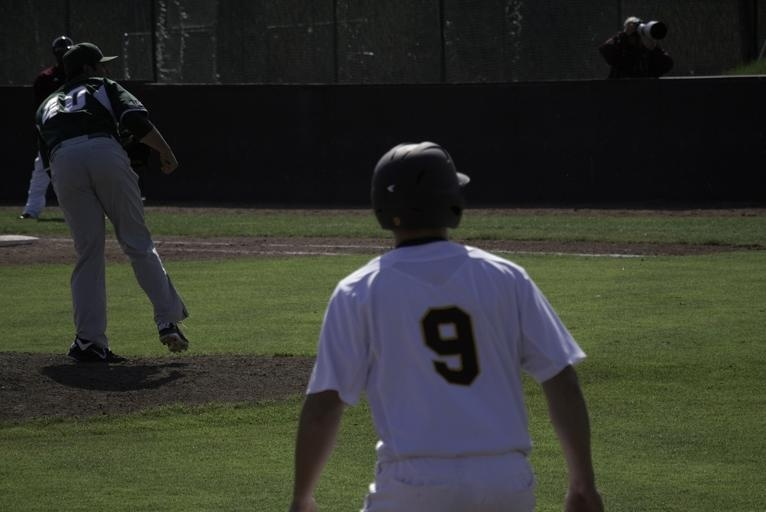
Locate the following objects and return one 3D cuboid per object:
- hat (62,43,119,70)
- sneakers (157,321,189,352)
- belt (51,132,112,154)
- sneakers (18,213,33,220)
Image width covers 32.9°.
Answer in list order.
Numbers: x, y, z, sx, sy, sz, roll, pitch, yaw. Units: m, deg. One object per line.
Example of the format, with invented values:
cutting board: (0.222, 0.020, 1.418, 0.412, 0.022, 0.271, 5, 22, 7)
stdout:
hat: (-3.325, -2.284, 14.917, 0.602, 0.196, 0.361, -6, 12, -16)
sneakers: (-2.328, 0.974, 14.720, 0.205, 0.291, 0.447, -27, -38, 15)
belt: (-3.377, -1.271, 14.485, 0.368, 0.088, 0.364, -15, 1, 10)
sneakers: (-6.322, -0.685, 23.121, 0.323, 0.119, 0.103, 3, 2, -3)
